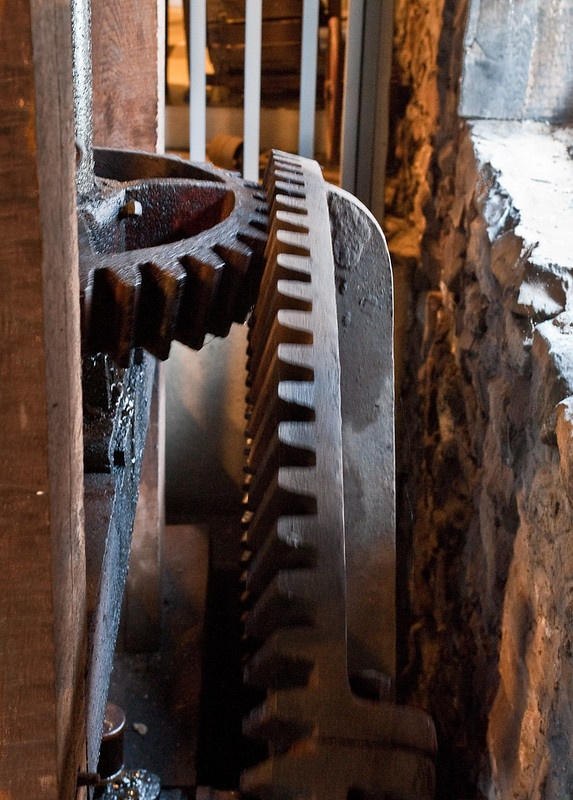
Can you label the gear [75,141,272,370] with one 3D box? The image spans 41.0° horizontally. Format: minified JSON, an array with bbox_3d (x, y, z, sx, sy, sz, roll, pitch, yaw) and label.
[{"bbox_3d":[-0.163,-0.237,1.183,0.307,0.220,0.643,0,22,-19],"label":"gear"}]
